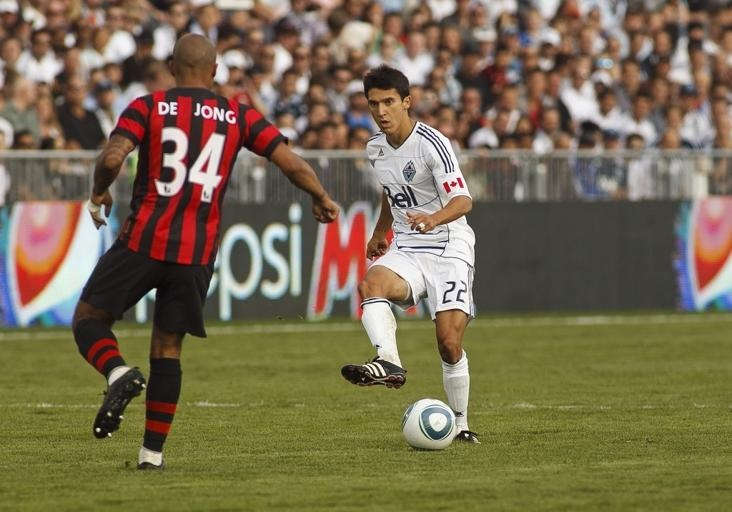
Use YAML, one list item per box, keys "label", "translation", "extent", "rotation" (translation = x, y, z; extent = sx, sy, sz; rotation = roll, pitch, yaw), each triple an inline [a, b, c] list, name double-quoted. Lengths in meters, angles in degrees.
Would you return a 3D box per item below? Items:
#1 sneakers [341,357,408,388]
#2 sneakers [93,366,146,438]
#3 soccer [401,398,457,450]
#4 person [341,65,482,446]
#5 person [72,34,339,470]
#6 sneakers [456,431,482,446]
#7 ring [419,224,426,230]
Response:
- label: "sneakers"
  translation: [0.051, 0.956, 11.197]
  extent: [0.518, 0.210, 0.279]
  rotation: [9, 31, -11]
- label: "sneakers"
  translation: [-1.862, 1.143, 10.927]
  extent: [0.286, 0.566, 0.203]
  rotation: [10, -28, 48]
- label: "soccer"
  translation: [0.504, 1.362, 11.267]
  extent: [0.431, 0.461, 0.435]
  rotation: [-6, -2, 39]
- label: "person"
  translation: [0.414, -0.036, 11.478]
  extent: [0.910, 2.965, 0.763]
  rotation: [0, 6, 4]
- label: "person"
  translation: [-1.370, 0.152, 10.704]
  extent: [1.564, 2.817, 0.643]
  rotation: [-4, 7, -25]
- label: "sneakers"
  translation: [0.827, 1.446, 11.325]
  extent: [0.076, 0.096, 0.207]
  rotation: [0, -5, -30]
- label: "ring"
  translation: [0.437, -0.223, 11.085]
  extent: [0.044, 0.047, 0.013]
  rotation: [0, -14, 17]
